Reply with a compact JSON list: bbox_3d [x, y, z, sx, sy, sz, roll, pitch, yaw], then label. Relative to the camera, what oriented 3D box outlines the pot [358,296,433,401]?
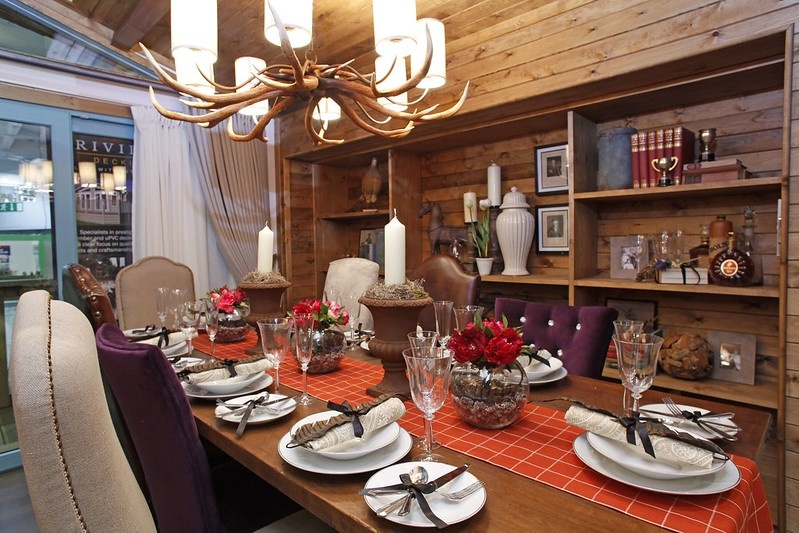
[{"bbox_3d":[-0.005,0.353,2.058,0.305,0.331,0.307,8,-4,1],"label":"pot"}]

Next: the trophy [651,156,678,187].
[{"bbox_3d":[1.495,-0.537,2.855,0.137,0.158,0.050,0,5,24],"label":"trophy"}]

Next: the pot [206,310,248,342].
[{"bbox_3d":[-0.890,0.335,2.708,0.193,0.150,0.193,2,-9,0],"label":"pot"}]

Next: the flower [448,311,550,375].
[{"bbox_3d":[0.337,0.266,1.756,0.245,0.121,0.205,7,-3,-26],"label":"flower"}]

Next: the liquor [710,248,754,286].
[{"bbox_3d":[1.779,-0.030,2.700,0.175,0.271,0.208,1,0,-36],"label":"liquor"}]

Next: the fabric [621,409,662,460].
[{"bbox_3d":[0.735,0.509,1.547,0.105,0.036,0.100,15,48,41],"label":"fabric"}]

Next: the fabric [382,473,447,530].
[{"bbox_3d":[0.066,0.669,1.438,0.136,0.102,0.124,-1,3,5],"label":"fabric"}]

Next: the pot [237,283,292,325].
[{"bbox_3d":[-0.684,0.207,2.582,0.295,0.258,0.288,-3,2,0],"label":"pot"}]

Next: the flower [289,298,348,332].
[{"bbox_3d":[-0.352,0.197,2.169,0.175,0.101,0.172,8,-7,24],"label":"flower"}]

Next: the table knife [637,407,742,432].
[{"bbox_3d":[0.970,0.521,1.708,0.088,0.048,0.283,-20,2,-14],"label":"table knife"}]

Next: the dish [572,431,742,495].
[{"bbox_3d":[0.850,0.603,1.660,0.469,0.056,0.456,0,-10,-31],"label":"dish"}]

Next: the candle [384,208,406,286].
[{"bbox_3d":[-0.019,-0.060,1.998,0.087,0.272,0.076,-4,5,-28],"label":"candle"}]

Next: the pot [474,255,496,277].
[{"bbox_3d":[0.611,0.003,3.650,0.163,0.132,0.158,1,-2,0],"label":"pot"}]

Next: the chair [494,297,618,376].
[{"bbox_3d":[0.804,0.370,2.570,0.391,0.502,0.441,1,-21,36],"label":"chair"}]

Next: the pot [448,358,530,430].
[{"bbox_3d":[0.307,0.425,1.811,0.257,0.214,0.244,1,-1,0],"label":"pot"}]

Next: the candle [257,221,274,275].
[{"bbox_3d":[-0.685,-0.082,2.553,0.059,0.207,0.058,-8,4,33],"label":"candle"}]

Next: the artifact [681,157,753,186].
[{"bbox_3d":[1.674,-0.503,2.704,0.279,0.123,0.137,0,4,28],"label":"artifact"}]
